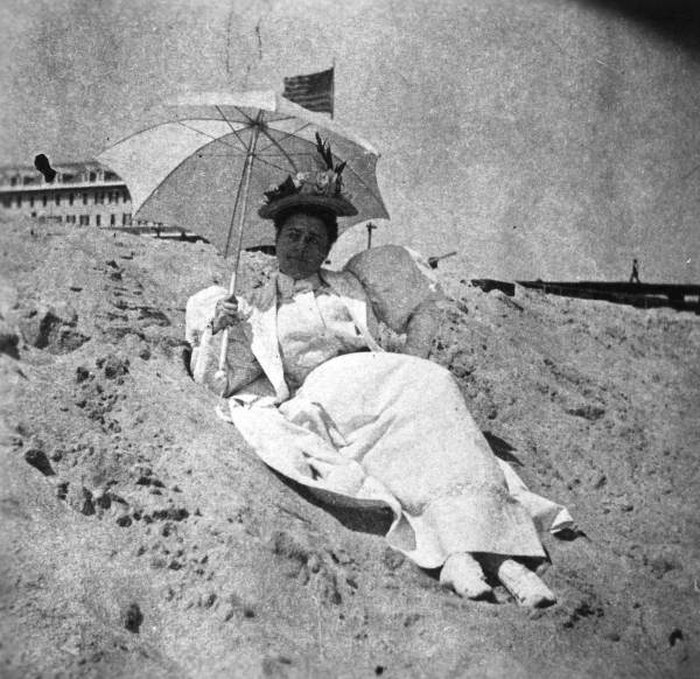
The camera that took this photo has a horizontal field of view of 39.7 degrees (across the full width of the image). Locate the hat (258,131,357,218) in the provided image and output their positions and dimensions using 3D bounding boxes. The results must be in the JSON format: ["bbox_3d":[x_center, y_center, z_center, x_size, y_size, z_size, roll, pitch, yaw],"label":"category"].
[{"bbox_3d":[-0.192,-0.763,4.640,0.392,0.460,0.342,-2,86,19],"label":"hat"}]

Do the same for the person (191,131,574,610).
[{"bbox_3d":[0.111,0.102,4.233,1.039,2.065,1.604,5,99,-39],"label":"person"}]

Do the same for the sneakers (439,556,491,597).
[{"bbox_3d":[0.435,0.899,3.628,0.168,0.141,0.166,-2,64,-9],"label":"sneakers"}]

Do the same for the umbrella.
[{"bbox_3d":[-0.432,-0.527,5.282,1.296,1.196,1.373,-24,38,-33],"label":"umbrella"}]
